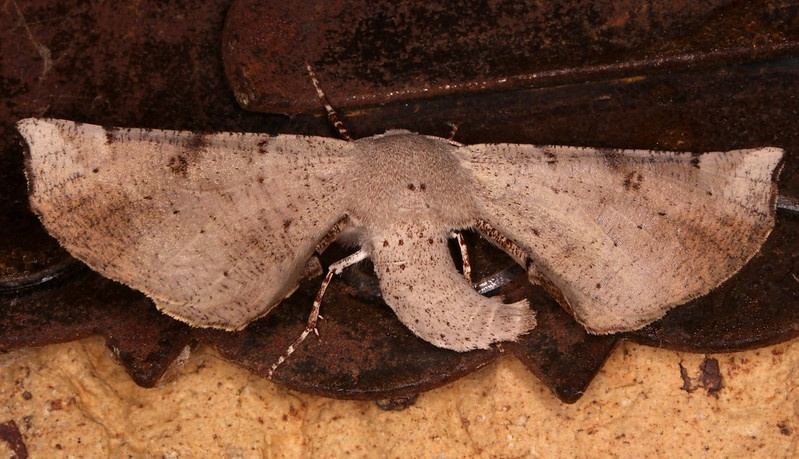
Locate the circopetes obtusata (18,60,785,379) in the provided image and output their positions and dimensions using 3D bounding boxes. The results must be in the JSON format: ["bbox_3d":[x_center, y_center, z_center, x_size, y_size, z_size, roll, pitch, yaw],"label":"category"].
[{"bbox_3d":[0.011,-0.008,6.812,5.491,1.067,2.221,-1,85,0],"label":"circopetes obtusata"}]
